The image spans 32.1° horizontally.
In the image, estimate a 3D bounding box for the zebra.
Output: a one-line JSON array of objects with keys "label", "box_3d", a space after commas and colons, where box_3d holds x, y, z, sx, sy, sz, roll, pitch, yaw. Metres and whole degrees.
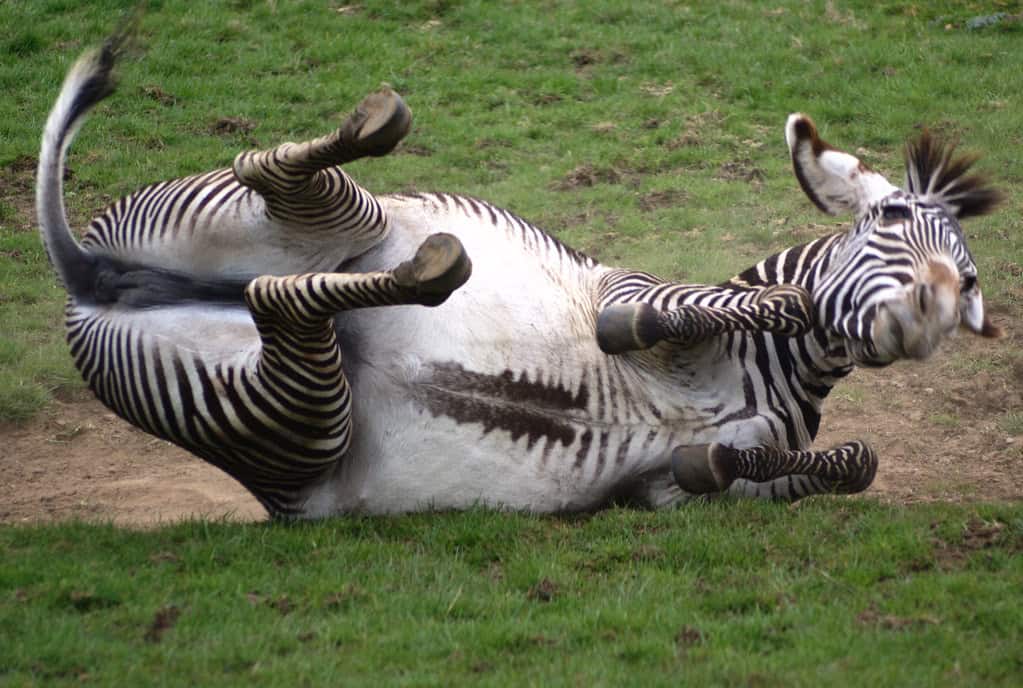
[{"label": "zebra", "box_3d": [0.336, -0.339, 13.427, 6.495, 3.372, 2.580, 7, 49, 7]}]
